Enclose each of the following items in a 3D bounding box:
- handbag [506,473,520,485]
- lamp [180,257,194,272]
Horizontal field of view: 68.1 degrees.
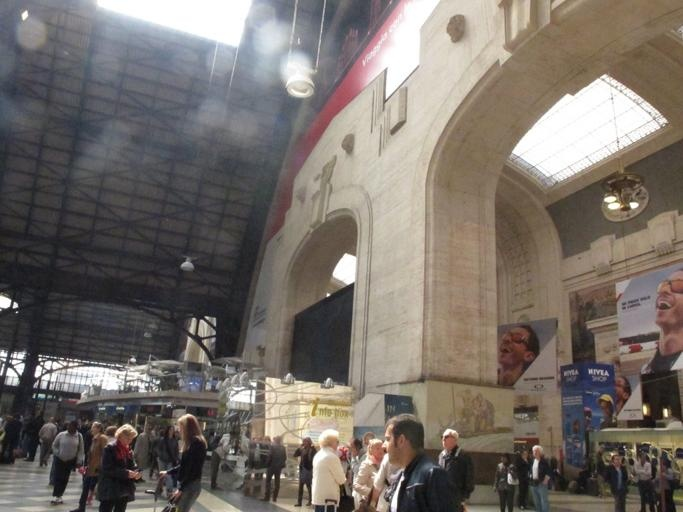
[{"bbox_3d":[3.497,4.596,10.359,0.228,0.225,0.178,-9,-18,25],"label":"handbag"},{"bbox_3d":[-8.848,0.520,29.298,0.619,0.641,0.657,-1,-31,3],"label":"lamp"}]
